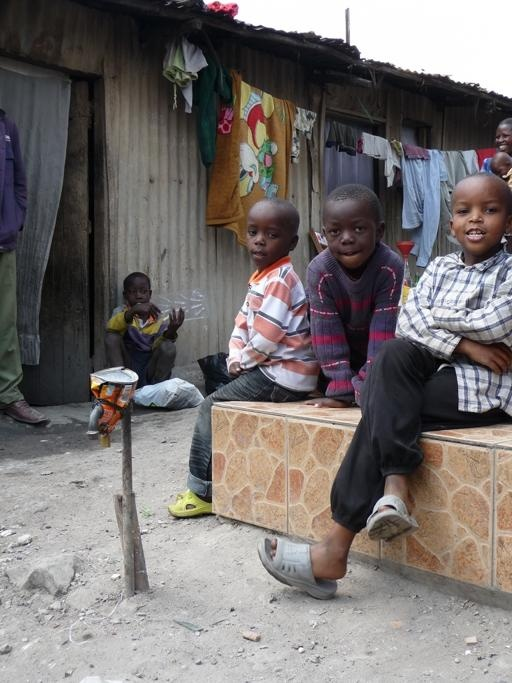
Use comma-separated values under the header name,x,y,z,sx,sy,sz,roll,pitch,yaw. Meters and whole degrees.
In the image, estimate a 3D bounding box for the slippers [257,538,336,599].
name,x,y,z,sx,sy,sz,roll,pitch,yaw
slippers,0.111,0.645,1.718,0.265,0.121,0.113,28,47,-2

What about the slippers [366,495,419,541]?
name,x,y,z,sx,sy,sz,roll,pitch,yaw
slippers,0.328,0.450,1.490,0.075,0.067,0.170,-17,-28,9

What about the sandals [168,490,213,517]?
name,x,y,z,sx,sy,sz,roll,pitch,yaw
sandals,-0.272,0.662,2.451,0.183,0.091,0.090,3,3,15
